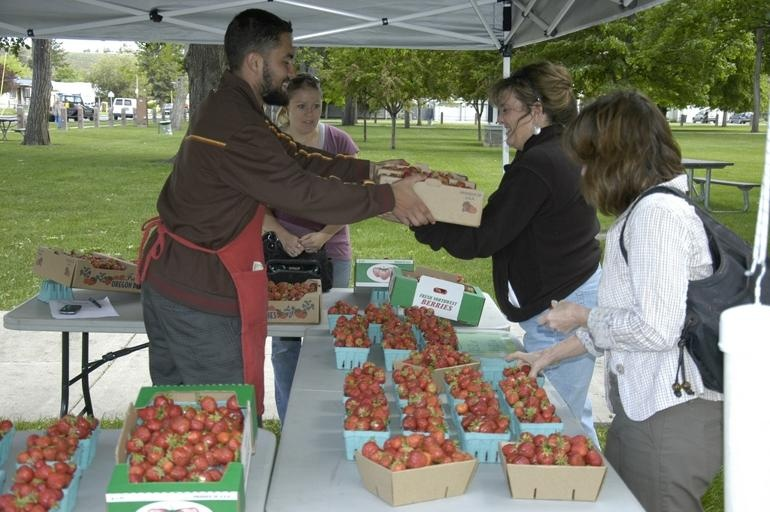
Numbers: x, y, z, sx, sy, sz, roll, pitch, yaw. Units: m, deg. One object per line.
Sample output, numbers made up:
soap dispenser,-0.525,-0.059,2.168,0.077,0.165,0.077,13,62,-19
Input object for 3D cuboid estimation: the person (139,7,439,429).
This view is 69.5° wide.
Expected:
person,-0.529,-0.125,2.971,1.194,2.425,1.401,-1,46,-4

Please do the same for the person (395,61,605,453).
person,0.878,0.301,3.574,1.306,2.869,0.999,-9,6,-5

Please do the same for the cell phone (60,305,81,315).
cell phone,-2.181,0.371,3.845,0.124,0.041,0.150,-3,9,-23

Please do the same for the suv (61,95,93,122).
suv,-26.624,-12.891,47.957,2.014,2.598,5.630,-3,9,-23
